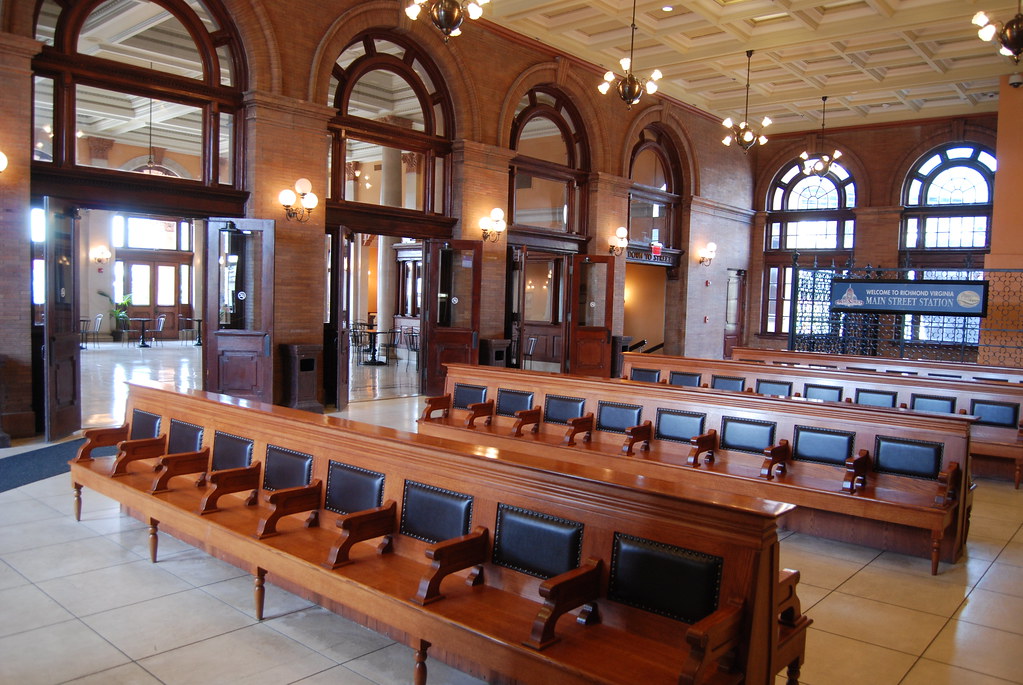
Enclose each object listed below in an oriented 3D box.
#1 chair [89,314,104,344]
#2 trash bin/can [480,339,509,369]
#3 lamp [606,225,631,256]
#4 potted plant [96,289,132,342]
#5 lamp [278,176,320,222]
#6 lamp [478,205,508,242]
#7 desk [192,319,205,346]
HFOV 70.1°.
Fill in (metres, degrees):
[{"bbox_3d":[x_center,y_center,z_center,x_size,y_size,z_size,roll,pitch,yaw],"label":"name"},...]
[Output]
[{"bbox_3d":[-12.205,-0.455,21.551,0.377,0.784,1.111,-2,6,-30],"label":"chair"},{"bbox_3d":[-0.244,0.205,13.292,0.506,0.677,0.491,-2,4,-31],"label":"trash bin/can"},{"bbox_3d":[2.368,-2.161,15.648,0.270,0.634,0.746,5,6,34],"label":"lamp"},{"bbox_3d":[-11.913,-0.831,22.006,0.780,1.513,0.774,0,5,-10],"label":"potted plant"},{"bbox_3d":[-3.145,-2.113,10.915,0.633,0.590,0.304,-2,6,-30],"label":"lamp"},{"bbox_3d":[-0.308,-2.122,13.243,0.590,0.596,0.328,-1,6,-23],"label":"lamp"},{"bbox_3d":[-9.872,-0.408,22.899,0.263,0.635,4.210,-1,5,-25],"label":"desk"}]
